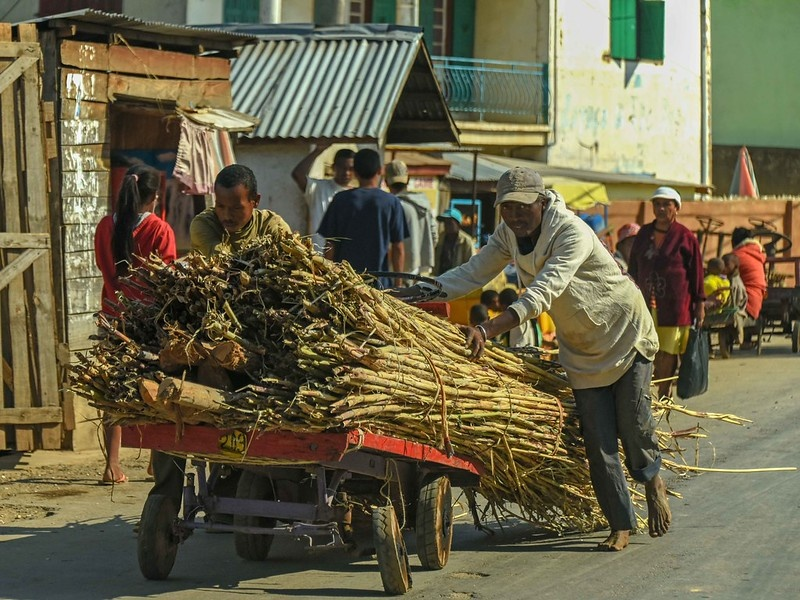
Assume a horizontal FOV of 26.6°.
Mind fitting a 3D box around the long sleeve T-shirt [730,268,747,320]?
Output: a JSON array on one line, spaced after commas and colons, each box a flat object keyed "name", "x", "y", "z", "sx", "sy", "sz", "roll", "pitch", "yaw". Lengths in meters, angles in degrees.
[{"name": "long sleeve T-shirt", "x": 4.214, "y": -0.091, "z": 21.206, "sx": 0.174, "sy": 0.548, "sz": 0.653, "roll": 0, "pitch": -1, "yaw": 18}]

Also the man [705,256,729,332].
[{"name": "man", "x": 3.864, "y": -0.068, "z": 20.712, "sx": 0.301, "sy": 0.881, "sz": 0.917, "roll": 0, "pitch": -1, "yaw": 11}]

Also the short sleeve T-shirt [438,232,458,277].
[{"name": "short sleeve T-shirt", "x": 0.556, "y": -0.563, "z": 20.161, "sx": 0.135, "sy": 0.463, "sz": 0.366, "roll": 2, "pitch": 3, "yaw": -44}]

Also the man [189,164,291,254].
[{"name": "man", "x": -1.256, "y": -0.697, "z": 13.587, "sx": 0.980, "sy": 0.689, "sz": 0.789, "roll": 4, "pitch": 23, "yaw": 9}]

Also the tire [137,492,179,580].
[{"name": "tire", "x": -1.882, "y": 1.879, "z": 13.149, "sx": 0.334, "sy": 0.642, "sz": 0.243, "roll": 0, "pitch": 0, "yaw": -23}]

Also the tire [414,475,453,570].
[{"name": "tire", "x": 0.254, "y": 1.774, "z": 13.338, "sx": 0.326, "sy": 0.762, "sz": 0.694, "roll": 1, "pitch": -9, "yaw": 14}]

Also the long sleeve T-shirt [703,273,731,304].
[{"name": "long sleeve T-shirt", "x": 3.908, "y": -0.139, "z": 20.898, "sx": 0.470, "sy": 0.230, "sz": 0.587, "roll": 3, "pitch": 8, "yaw": 22}]

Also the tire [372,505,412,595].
[{"name": "tire", "x": -0.075, "y": 1.964, "z": 13.031, "sx": 0.191, "sy": 0.588, "sz": 0.607, "roll": -11, "pitch": 9, "yaw": 2}]

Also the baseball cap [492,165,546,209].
[{"name": "baseball cap", "x": 0.961, "y": -0.909, "z": 13.418, "sx": 0.420, "sy": 0.305, "sz": 0.268, "roll": 0, "pitch": -1, "yaw": -3}]
